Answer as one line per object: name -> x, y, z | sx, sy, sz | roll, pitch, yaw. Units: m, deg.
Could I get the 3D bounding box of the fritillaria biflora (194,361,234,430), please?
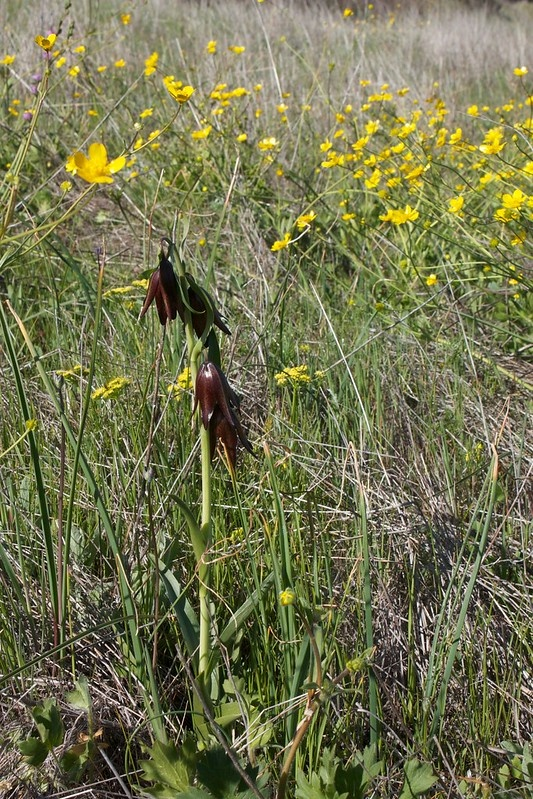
fritillaria biflora -> -0.072, -0.011, 1.048 | 0.047, 0.080, 0.043 | 15, 23, 43

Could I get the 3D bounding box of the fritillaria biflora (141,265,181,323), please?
fritillaria biflora -> -0.139, -0.150, 1.068 | 0.034, 0.105, 0.038 | 2, 29, -2
